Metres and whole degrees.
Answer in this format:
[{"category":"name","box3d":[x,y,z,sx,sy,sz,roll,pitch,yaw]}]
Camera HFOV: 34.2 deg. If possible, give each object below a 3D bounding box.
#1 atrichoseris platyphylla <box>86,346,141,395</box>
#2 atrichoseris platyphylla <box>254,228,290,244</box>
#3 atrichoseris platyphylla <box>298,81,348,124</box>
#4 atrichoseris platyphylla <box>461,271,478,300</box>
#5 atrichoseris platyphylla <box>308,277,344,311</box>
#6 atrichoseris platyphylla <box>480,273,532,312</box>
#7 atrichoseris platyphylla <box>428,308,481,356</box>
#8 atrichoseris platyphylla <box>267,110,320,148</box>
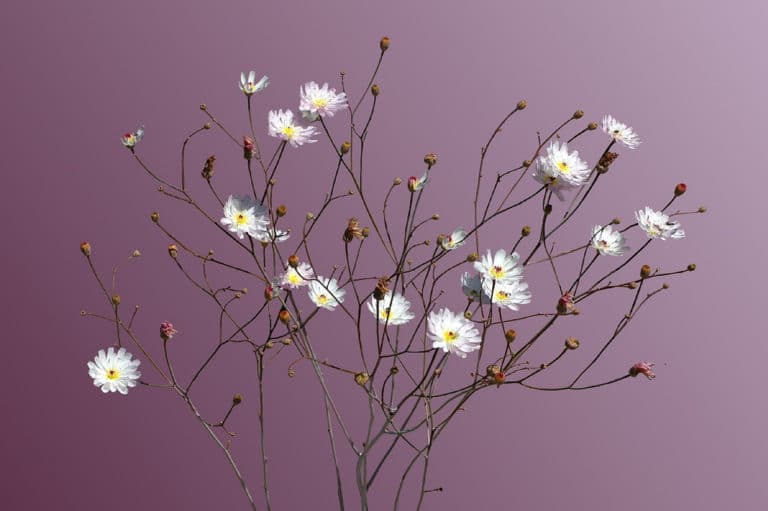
[{"category":"atrichoseris platyphylla","box3d":[-0.913,0.365,4.173,0.149,0.169,0.075,-6,-81,-17]},{"category":"atrichoseris platyphylla","box3d":[-0.368,-0.064,4.124,0.058,0.065,0.029,-10,-69,-15]},{"category":"atrichoseris platyphylla","box3d":[-0.209,-0.533,4.190,0.159,0.167,0.114,-1,-57,-13]},{"category":"atrichoseris platyphylla","box3d":[0.288,0.099,4.136,0.055,0.078,0.063,8,-60,-18]},{"category":"atrichoseris platyphylla","box3d":[-0.194,0.121,4.151,0.099,0.108,0.056,-23,-39,-27]},{"category":"atrichoseris platyphylla","box3d":[0.395,0.133,4.140,0.141,0.173,0.077,-3,-80,-11]},{"category":"atrichoseris platyphylla","box3d":[0.216,0.259,4.095,0.105,0.120,0.058,11,-78,22]},{"category":"atrichoseris platyphylla","box3d":[-0.306,-0.423,4.141,0.123,0.142,0.064,28,-38,-15]}]
